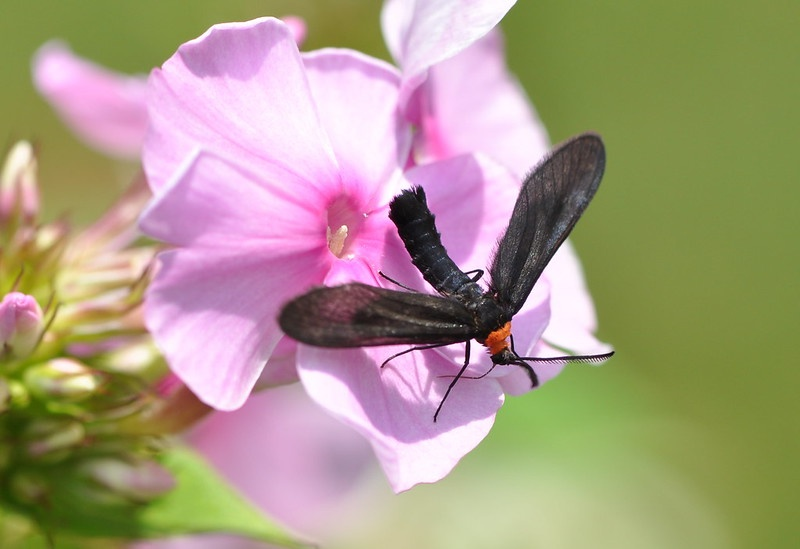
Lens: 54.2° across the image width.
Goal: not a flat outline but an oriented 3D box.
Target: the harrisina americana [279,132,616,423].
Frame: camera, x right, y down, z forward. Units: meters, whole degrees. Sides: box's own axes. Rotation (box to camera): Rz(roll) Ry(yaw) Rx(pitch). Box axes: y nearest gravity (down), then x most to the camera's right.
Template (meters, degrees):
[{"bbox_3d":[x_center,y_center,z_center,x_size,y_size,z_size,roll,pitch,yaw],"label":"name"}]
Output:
[{"bbox_3d":[0.115,0.015,1.238,0.670,0.175,0.402,-31,66,-29],"label":"harrisina americana"}]

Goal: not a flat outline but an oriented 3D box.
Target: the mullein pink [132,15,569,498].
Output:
[{"bbox_3d":[-0.137,0.010,1.182,0.618,0.699,0.263,-12,0,-42],"label":"mullein pink"}]
